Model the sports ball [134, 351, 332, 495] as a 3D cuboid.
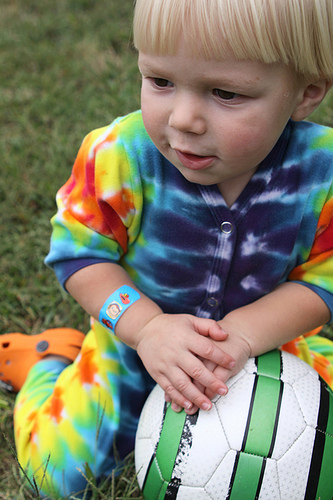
[{"bbox_3d":[0.176,0.365,1.122,0.377,0.352,0.385,-2,82,12],"label":"sports ball"}]
